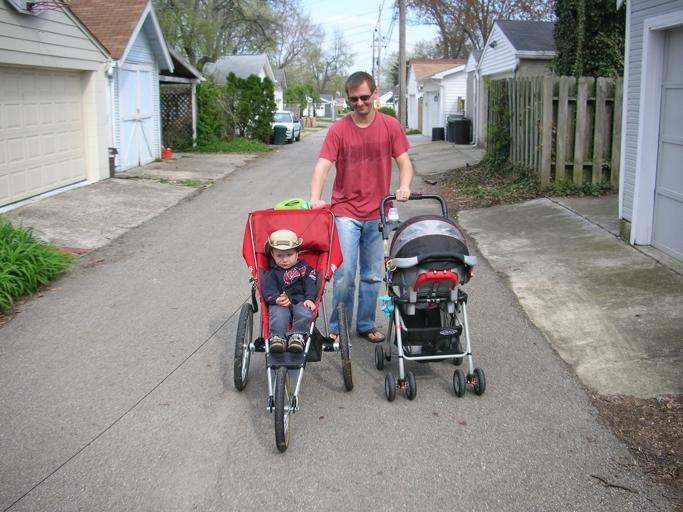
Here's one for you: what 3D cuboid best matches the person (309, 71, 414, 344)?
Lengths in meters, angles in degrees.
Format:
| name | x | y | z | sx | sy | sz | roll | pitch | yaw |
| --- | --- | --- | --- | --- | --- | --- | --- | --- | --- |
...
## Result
| name | x | y | z | sx | sy | sz | roll | pitch | yaw |
| --- | --- | --- | --- | --- | --- | --- | --- | --- | --- |
| person | 0.155 | -0.408 | 4.990 | 0.784 | 2.411 | 1.071 | 0 | 3 | 2 |

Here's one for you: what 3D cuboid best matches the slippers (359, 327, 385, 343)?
| name | x | y | z | sx | sy | sz | roll | pitch | yaw |
| --- | --- | --- | --- | --- | --- | --- | --- | --- | --- |
| slippers | 0.310 | 0.809 | 5.549 | 0.248 | 0.102 | 0.129 | 1 | 7 | 40 |

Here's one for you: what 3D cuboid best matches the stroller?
| name | x | y | z | sx | sy | sz | roll | pitch | yaw |
| --- | --- | --- | --- | --- | --- | --- | --- | --- | --- |
| stroller | 0.735 | 0.318 | 4.633 | 0.874 | 1.613 | 0.872 | -3 | 14 | -3 |

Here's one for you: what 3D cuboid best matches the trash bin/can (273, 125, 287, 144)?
| name | x | y | z | sx | sy | sz | roll | pitch | yaw |
| --- | --- | --- | --- | --- | --- | --- | --- | --- | --- |
| trash bin/can | -3.503 | -6.741 | 30.117 | 0.855 | 1.238 | 0.837 | 0 | 6 | -4 |

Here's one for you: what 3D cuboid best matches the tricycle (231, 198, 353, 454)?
| name | x | y | z | sx | sy | sz | roll | pitch | yaw |
| --- | --- | --- | --- | --- | --- | --- | --- | --- | --- |
| tricycle | -0.470 | 0.339 | 4.445 | 0.817 | 1.463 | 1.919 | 0 | 13 | -3 |
